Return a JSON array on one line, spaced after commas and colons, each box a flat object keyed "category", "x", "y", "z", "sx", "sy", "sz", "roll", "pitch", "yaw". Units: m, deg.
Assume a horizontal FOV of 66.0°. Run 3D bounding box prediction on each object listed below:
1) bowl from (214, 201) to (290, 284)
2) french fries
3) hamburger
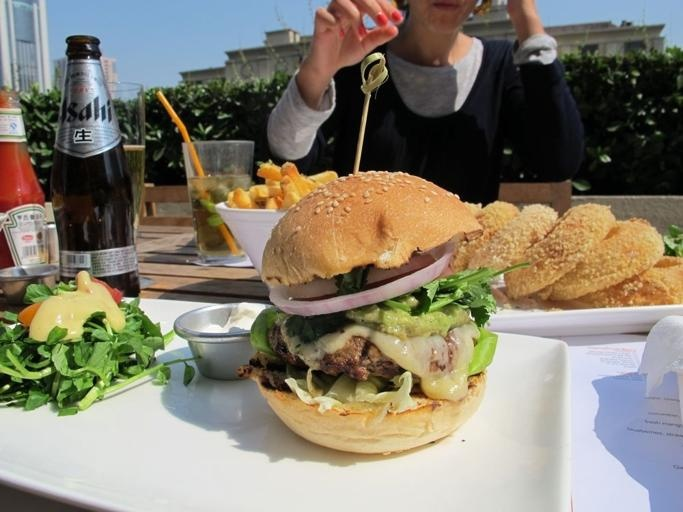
[{"category": "bowl", "x": -0.328, "y": -0.061, "z": 1.987, "sx": 0.232, "sy": 0.278, "sz": 0.239, "roll": -4, "pitch": 7, "yaw": 0}, {"category": "french fries", "x": -0.261, "y": -0.271, "z": 2.137, "sx": 0.435, "sy": 0.245, "sz": 0.307, "roll": -4, "pitch": 3, "yaw": -13}, {"category": "hamburger", "x": 0.050, "y": 0.074, "z": 1.677, "sx": 0.739, "sy": 0.641, "sz": 0.759, "roll": -6, "pitch": 10, "yaw": -6}]
